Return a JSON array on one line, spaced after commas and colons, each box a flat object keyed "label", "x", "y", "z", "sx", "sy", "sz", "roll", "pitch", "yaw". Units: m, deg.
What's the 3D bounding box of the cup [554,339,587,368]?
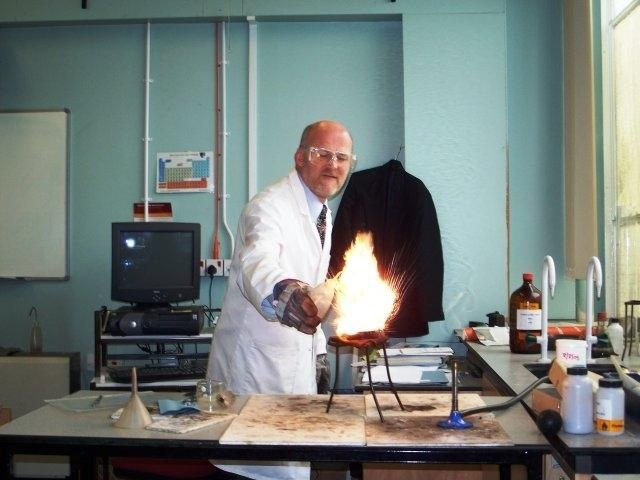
[{"label": "cup", "x": 1.199, "y": 0.522, "z": 3.349, "sx": 0.152, "sy": 0.150, "sz": 0.158, "roll": 0, "pitch": -3, "yaw": 0}]

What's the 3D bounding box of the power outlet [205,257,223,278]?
[{"label": "power outlet", "x": -0.763, "y": 0.211, "z": 5.104, "sx": 0.188, "sy": 0.179, "sz": 0.100, "roll": 3, "pitch": -4, "yaw": -13}]

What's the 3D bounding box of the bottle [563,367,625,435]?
[{"label": "bottle", "x": 1.112, "y": 0.640, "z": 2.812, "sx": 0.255, "sy": 0.264, "sz": 0.137, "roll": -2, "pitch": 2, "yaw": 15}]

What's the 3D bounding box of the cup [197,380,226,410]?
[{"label": "cup", "x": -0.476, "y": 0.681, "z": 3.055, "sx": 0.110, "sy": 0.114, "sz": 0.114, "roll": 1, "pitch": -9, "yaw": 0}]

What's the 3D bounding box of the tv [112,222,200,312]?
[{"label": "tv", "x": -1.023, "y": 0.149, "z": 4.809, "sx": 0.753, "sy": 0.767, "sz": 0.483, "roll": 0, "pitch": -5, "yaw": -7}]

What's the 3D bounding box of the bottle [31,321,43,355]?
[{"label": "bottle", "x": -1.987, "y": 0.683, "z": 4.838, "sx": 0.070, "sy": 0.146, "sz": 0.161, "roll": -3, "pitch": 2, "yaw": -23}]

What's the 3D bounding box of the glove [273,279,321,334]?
[{"label": "glove", "x": -0.099, "y": 0.273, "z": 2.903, "sx": 0.160, "sy": 0.229, "sz": 0.110, "roll": -18, "pitch": -26, "yaw": 2}]
